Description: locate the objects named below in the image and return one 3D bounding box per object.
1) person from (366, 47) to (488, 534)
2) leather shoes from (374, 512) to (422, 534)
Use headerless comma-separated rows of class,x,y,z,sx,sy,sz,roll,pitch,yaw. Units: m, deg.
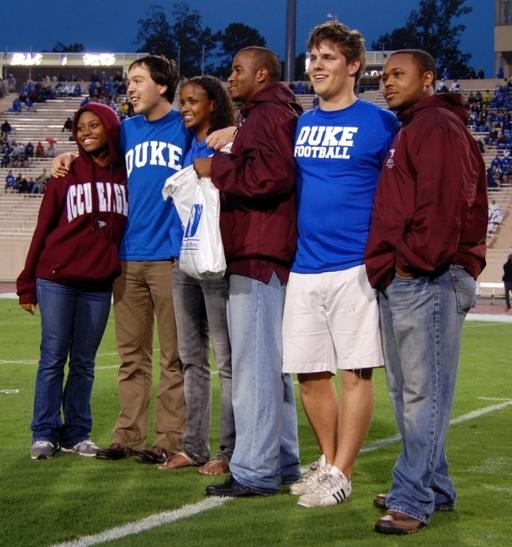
person,0.831,0.159,4.425,0.600,2.056,0.537,0,3,6
leather shoes,0.667,1.152,4.260,0.195,0.079,0.084,13,-15,-20
